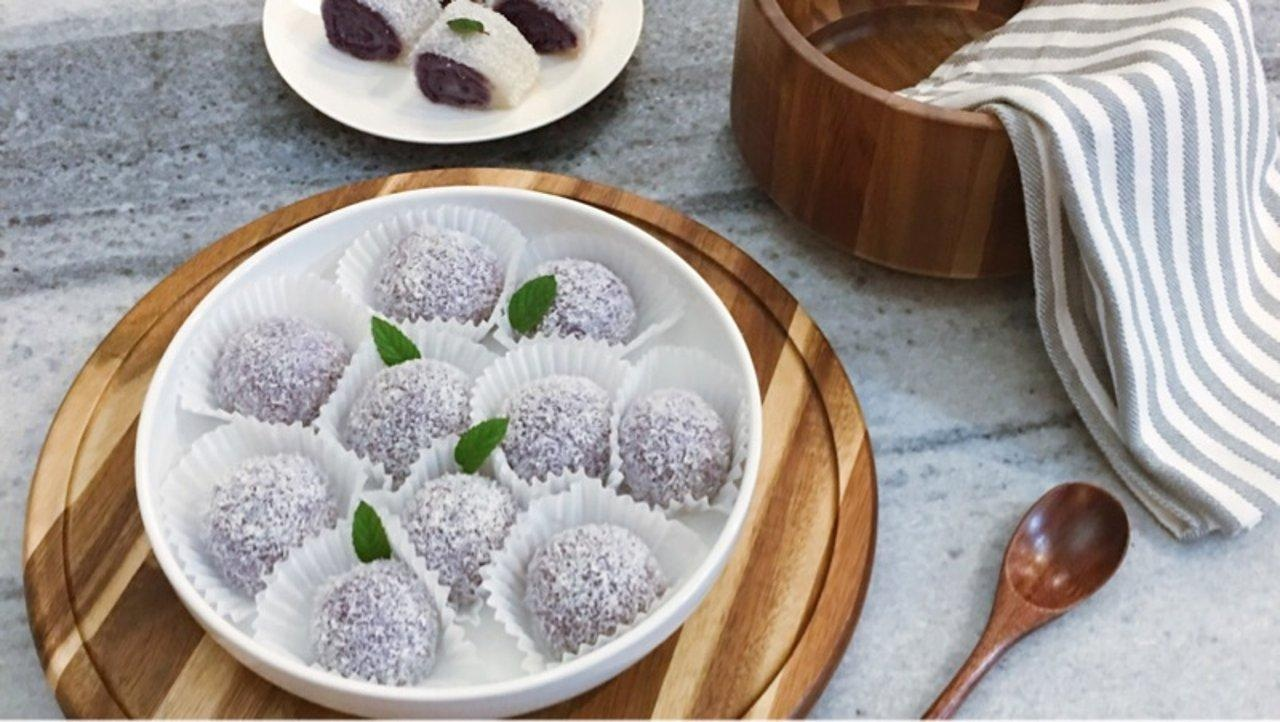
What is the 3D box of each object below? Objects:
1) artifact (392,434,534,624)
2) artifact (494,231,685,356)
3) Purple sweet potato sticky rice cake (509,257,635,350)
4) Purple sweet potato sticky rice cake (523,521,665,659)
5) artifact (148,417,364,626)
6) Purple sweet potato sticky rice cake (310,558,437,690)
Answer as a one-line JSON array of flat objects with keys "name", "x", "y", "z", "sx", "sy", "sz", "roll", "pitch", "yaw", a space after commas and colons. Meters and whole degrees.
[{"name": "artifact", "x": -0.269, "y": 0.243, "z": 1.779, "sx": 0.145, "sy": 0.068, "sz": 0.222, "roll": 2, "pitch": 63, "yaw": -2}, {"name": "artifact", "x": -0.064, "y": -0.103, "z": 2.052, "sx": 0.210, "sy": 0.078, "sz": 0.249, "roll": 3, "pitch": 63, "yaw": -7}, {"name": "Purple sweet potato sticky rice cake", "x": -0.086, "y": -0.071, "z": 1.939, "sx": 0.135, "sy": 0.083, "sz": 0.161, "roll": -11, "pitch": 71, "yaw": -5}, {"name": "Purple sweet potato sticky rice cake", "x": -0.072, "y": 0.325, "z": 1.807, "sx": 0.175, "sy": 0.065, "sz": 0.188, "roll": 29, "pitch": 70, "yaw": 22}, {"name": "artifact", "x": -0.620, "y": 0.210, "z": 1.924, "sx": 0.282, "sy": 0.099, "sz": 0.308, "roll": -2, "pitch": 56, "yaw": -10}, {"name": "Purple sweet potato sticky rice cake", "x": -0.380, "y": 0.378, "z": 1.806, "sx": 0.180, "sy": 0.059, "sz": 0.173, "roll": 5, "pitch": 74, "yaw": -2}]
